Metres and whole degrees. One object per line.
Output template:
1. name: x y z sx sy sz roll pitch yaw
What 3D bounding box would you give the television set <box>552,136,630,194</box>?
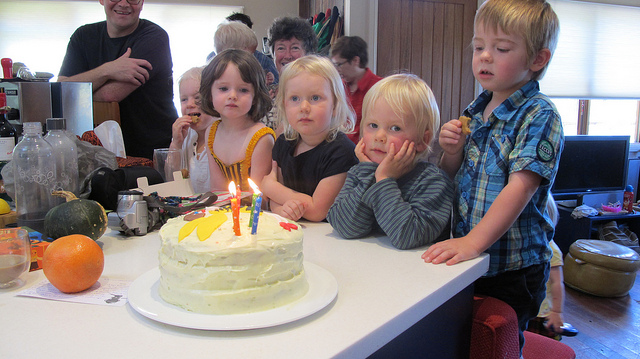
1. television set: 3.134 -0.150 4.699 1.212 0.724 0.283 -2 8 -19

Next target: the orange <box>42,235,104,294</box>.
1. orange: -0.927 0.315 1.507 0.222 0.198 0.217 3 -14 -30

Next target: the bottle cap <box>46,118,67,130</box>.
1. bottle cap: -1.333 -0.277 2.029 0.077 0.040 0.072 1 1 15

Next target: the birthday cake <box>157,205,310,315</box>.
1. birthday cake: -0.308 0.252 1.451 0.397 0.399 0.297 2 3 -8

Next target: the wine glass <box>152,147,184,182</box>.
1. wine glass: -0.847 -0.088 2.383 0.225 0.203 0.210 1 2 -12
